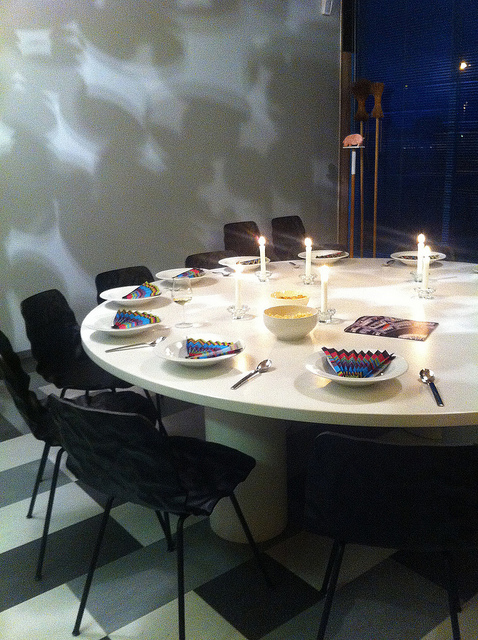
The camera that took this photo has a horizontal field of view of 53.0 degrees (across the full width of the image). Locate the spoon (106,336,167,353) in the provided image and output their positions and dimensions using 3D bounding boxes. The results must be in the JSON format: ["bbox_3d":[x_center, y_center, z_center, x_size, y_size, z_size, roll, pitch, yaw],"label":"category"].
[{"bbox_3d":[-0.332,0.080,1.565,0.133,0.018,0.021,-10,24,-5],"label":"spoon"}]

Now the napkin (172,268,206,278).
[{"bbox_3d":[-0.240,-0.239,2.509,0.055,0.025,0.181,23,21,39],"label":"napkin"}]

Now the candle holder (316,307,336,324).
[{"bbox_3d":[0.316,-0.017,1.761,0.056,0.044,0.064,11,17,39],"label":"candle holder"}]

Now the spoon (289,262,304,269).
[{"bbox_3d":[0.354,-0.333,2.947,0.035,0.021,0.127,-5,13,-4],"label":"spoon"}]

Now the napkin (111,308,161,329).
[{"bbox_3d":[-0.356,0.002,1.673,0.162,0.035,0.179,-4,18,-6],"label":"napkin"}]

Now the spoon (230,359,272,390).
[{"bbox_3d":[0.044,0.133,1.284,0.037,0.027,0.187,6,30,39],"label":"spoon"}]

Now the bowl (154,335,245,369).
[{"bbox_3d":[-0.119,0.095,1.378,0.264,0.070,0.237,-1,18,1],"label":"bowl"}]

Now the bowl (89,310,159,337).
[{"bbox_3d":[-0.389,0.014,1.660,0.149,0.031,0.145,-1,17,0],"label":"bowl"}]

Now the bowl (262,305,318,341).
[{"bbox_3d":[0.165,0.019,1.547,0.165,0.102,0.148,0,19,6],"label":"bowl"}]

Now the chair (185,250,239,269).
[{"bbox_3d":[-0.196,-0.403,3.219,0.247,0.106,0.454,1,19,8],"label":"chair"}]

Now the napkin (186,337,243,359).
[{"bbox_3d":[-0.069,0.087,1.357,0.158,0.032,0.173,-4,18,-6],"label":"napkin"}]

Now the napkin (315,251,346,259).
[{"bbox_3d":[0.548,-0.379,2.864,0.210,0.017,0.075,-9,20,-21],"label":"napkin"}]

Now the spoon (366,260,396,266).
[{"bbox_3d":[0.843,-0.354,2.912,0.037,0.030,0.246,-13,16,-29],"label":"spoon"}]

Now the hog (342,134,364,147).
[{"bbox_3d":[1.074,-1.694,4.533,0.149,0.102,0.253,0,19,7],"label":"hog"}]

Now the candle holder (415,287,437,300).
[{"bbox_3d":[0.822,-0.118,2.109,0.074,0.032,0.066,0,12,2],"label":"candle holder"}]

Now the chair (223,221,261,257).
[{"bbox_3d":[0.084,-0.686,4.066,0.272,0.260,0.454,12,23,35],"label":"chair"}]

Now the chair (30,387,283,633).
[{"bbox_3d":[-0.237,0.613,1.484,0.457,0.724,0.558,14,26,33],"label":"chair"}]

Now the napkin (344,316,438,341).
[{"bbox_3d":[0.529,0.022,1.657,0.265,0.018,0.259,8,20,26],"label":"napkin"}]

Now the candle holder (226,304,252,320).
[{"bbox_3d":[-0.008,-0.032,1.894,0.073,0.033,0.071,2,12,10],"label":"candle holder"}]
